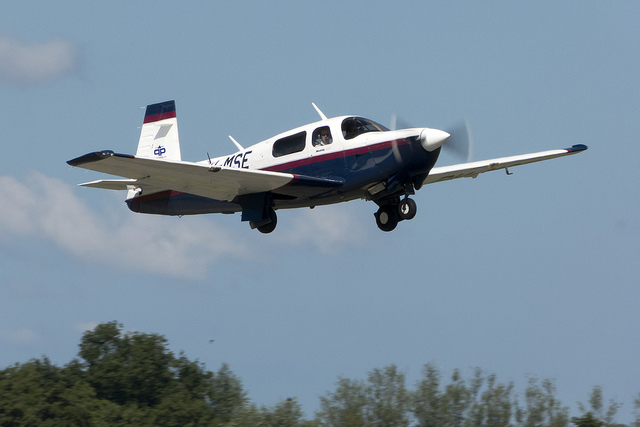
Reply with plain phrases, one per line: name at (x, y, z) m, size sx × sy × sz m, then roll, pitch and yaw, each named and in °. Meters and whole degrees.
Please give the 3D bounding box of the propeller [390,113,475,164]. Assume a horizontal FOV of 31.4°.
propeller at (2.533, -1.716, 28.918) m, size 1.624 × 0.610 × 2.534 m, roll -15°, pitch -11°, yaw 24°
